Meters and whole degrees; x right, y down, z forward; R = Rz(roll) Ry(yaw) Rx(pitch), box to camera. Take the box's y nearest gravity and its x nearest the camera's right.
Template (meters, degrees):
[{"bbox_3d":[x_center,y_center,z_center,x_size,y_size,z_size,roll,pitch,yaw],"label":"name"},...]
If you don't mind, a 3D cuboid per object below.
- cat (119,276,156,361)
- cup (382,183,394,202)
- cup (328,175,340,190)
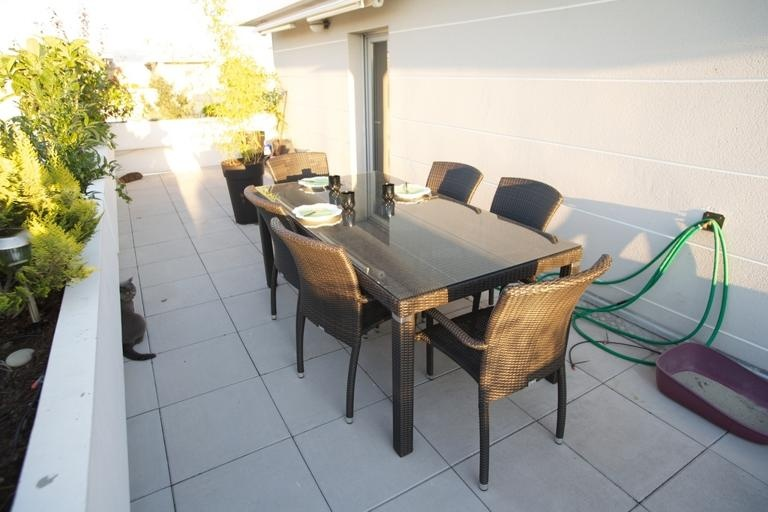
[{"bbox_3d":[-1.853,0.480,3.691,0.229,0.282,0.652,-12,69,-35],"label":"cat"},{"bbox_3d":[0.038,-0.487,3.697,0.072,0.139,0.072,1,37,-1],"label":"cup"},{"bbox_3d":[-0.390,-0.604,4.000,0.107,0.126,0.109,0,11,0],"label":"cup"}]
